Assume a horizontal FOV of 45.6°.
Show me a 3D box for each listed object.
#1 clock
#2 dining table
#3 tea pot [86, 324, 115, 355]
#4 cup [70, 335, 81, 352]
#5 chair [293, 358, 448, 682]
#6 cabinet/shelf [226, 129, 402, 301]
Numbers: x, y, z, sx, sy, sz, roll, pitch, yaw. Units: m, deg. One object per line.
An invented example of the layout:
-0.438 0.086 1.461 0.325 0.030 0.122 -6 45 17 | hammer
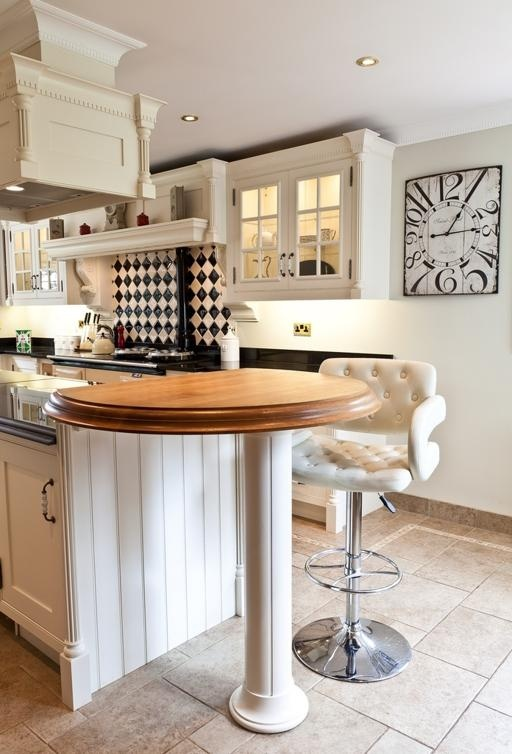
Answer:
1.043 -0.772 3.276 0.058 0.641 0.535 -5 7 -44 | clock
-0.058 0.498 1.589 0.661 0.962 0.803 4 7 38 | dining table
-1.241 -0.301 4.985 0.267 0.269 0.176 0 2 -22 | tea pot
-1.645 -0.310 5.484 0.132 0.147 0.132 0 3 0 | cup
0.339 0.459 2.037 0.527 0.971 0.436 8 13 35 | chair
0.267 -0.886 3.678 0.955 0.841 0.367 4 8 36 | cabinet/shelf
